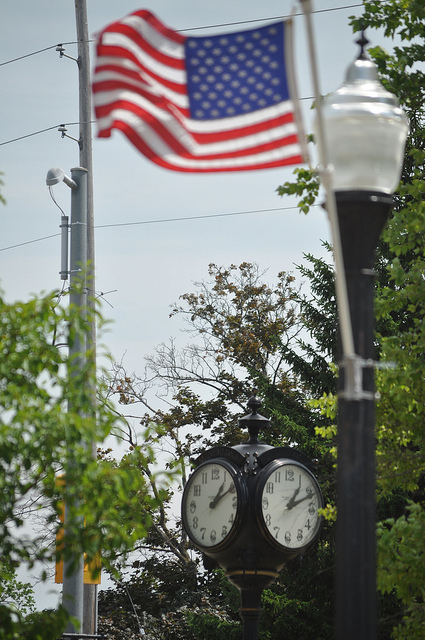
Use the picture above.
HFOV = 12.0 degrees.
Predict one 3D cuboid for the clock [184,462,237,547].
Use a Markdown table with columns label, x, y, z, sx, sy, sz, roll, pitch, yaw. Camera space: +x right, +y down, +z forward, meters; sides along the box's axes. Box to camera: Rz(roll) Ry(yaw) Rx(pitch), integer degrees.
| label | x | y | z | sx | sy | sz | roll | pitch | yaw |
| --- | --- | --- | --- | --- | --- | --- | --- | --- | --- |
| clock | -0.011 | 1.371 | 15.052 | 0.153 | 0.634 | 0.652 | 4 | -16 | -29 |

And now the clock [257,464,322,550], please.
| label | x | y | z | sx | sy | sz | roll | pitch | yaw |
| --- | --- | --- | --- | --- | --- | --- | --- | --- | --- |
| clock | 0.611 | 1.369 | 15.021 | 0.583 | 0.636 | 0.093 | 1 | -1 | 37 |
